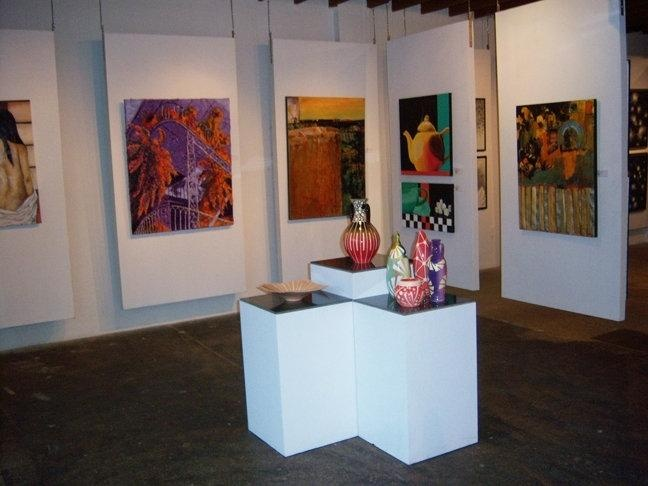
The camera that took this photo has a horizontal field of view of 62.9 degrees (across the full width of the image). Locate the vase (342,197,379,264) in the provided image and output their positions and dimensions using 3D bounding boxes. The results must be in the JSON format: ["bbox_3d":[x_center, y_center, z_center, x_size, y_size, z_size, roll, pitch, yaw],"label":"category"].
[{"bbox_3d":[0.284,-0.056,4.204,0.287,0.538,0.289,-4,-3,23],"label":"vase"}]

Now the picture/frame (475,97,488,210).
[{"bbox_3d":[2.447,-1.374,8.283,0.139,1.734,0.370,5,12,37],"label":"picture/frame"}]

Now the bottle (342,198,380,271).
[{"bbox_3d":[0.295,-0.099,4.202,0.258,0.515,0.304,-3,15,0],"label":"bottle"}]
